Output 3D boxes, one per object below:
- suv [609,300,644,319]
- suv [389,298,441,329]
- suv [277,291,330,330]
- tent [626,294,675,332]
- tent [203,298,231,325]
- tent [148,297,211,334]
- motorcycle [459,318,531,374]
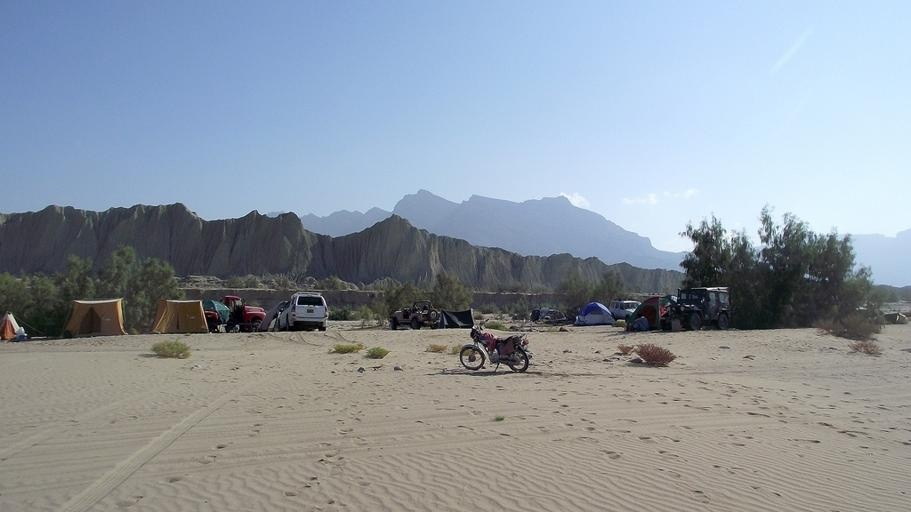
[{"bbox_3d":[13.862,4.213,46.641,1.789,1.660,3.197,2,-8,-42],"label":"suv"},{"bbox_3d":[-2.794,3.916,38.386,3.227,1.452,1.883,1,-2,35],"label":"suv"},{"bbox_3d":[-8.540,3.137,32.146,1.560,1.323,3.142,2,-1,-22],"label":"suv"},{"bbox_3d":[11.785,3.458,34.948,2.488,2.102,1.189,1,2,20],"label":"tent"},{"bbox_3d":[-14.266,3.291,34.516,1.265,0.956,1.783,1,4,-1],"label":"tent"},{"bbox_3d":[-15.163,3.370,32.080,2.163,1.478,2.129,-1,0,24],"label":"tent"},{"bbox_3d":[1.556,3.530,22.359,2.522,1.639,1.397,1,2,17],"label":"motorcycle"}]
